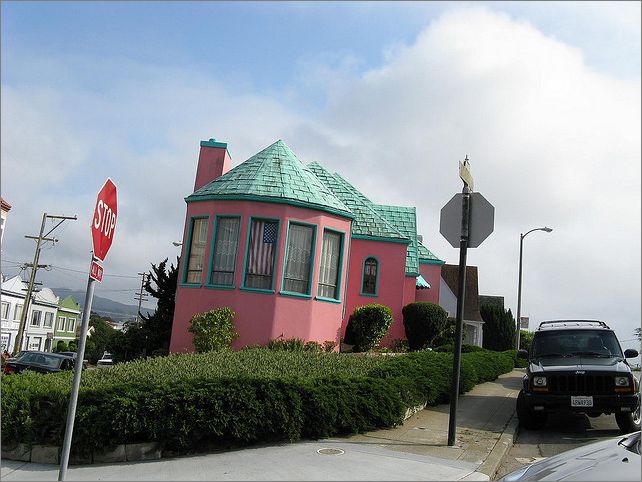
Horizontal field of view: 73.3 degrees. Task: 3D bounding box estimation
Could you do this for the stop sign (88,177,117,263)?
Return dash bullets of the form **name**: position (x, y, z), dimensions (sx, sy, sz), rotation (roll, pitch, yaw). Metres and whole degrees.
- **stop sign**: position (-2.586, -0.261, 5.149), dimensions (0.202, 0.997, 0.573), rotation (9, -15, -23)
